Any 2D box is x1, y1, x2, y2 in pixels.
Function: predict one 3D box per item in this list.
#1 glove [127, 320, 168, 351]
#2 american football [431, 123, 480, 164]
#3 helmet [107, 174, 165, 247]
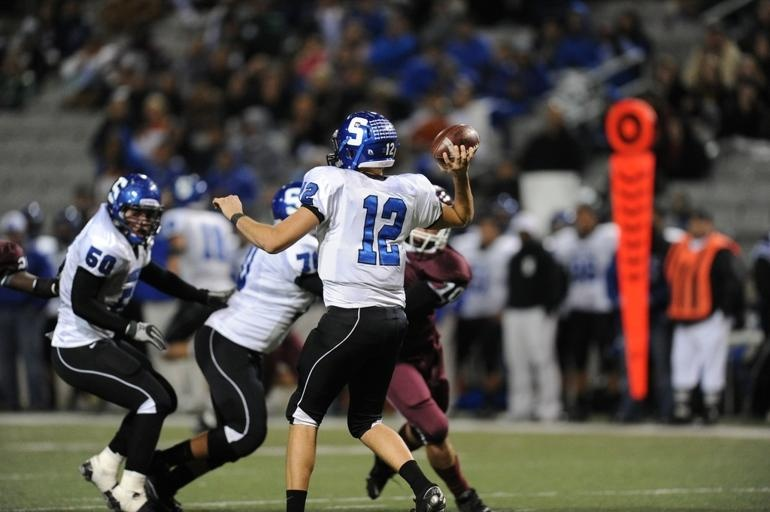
[{"bbox_3d":[-1.931,0.682,10.263,0.388,0.188,0.115,29,-37,-21],"label":"glove"},{"bbox_3d":[0.609,-0.977,10.309,0.377,0.287,0.225,-25,-28,-22],"label":"american football"},{"bbox_3d":[-2.065,-0.425,10.491,0.409,0.539,0.532,-1,17,-28],"label":"helmet"}]
